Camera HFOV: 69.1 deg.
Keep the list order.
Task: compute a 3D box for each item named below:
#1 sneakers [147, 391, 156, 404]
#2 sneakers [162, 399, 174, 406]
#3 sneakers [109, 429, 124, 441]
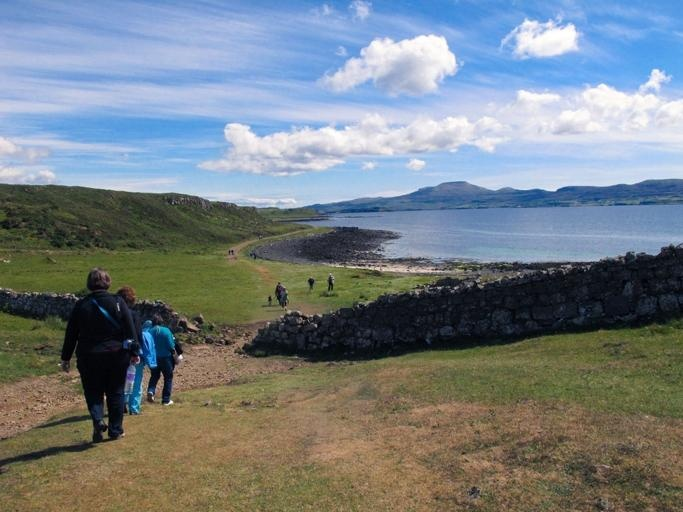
[{"bbox_3d":[-5.634,4.210,14.689,0.174,0.357,0.162,-5,25,-11],"label":"sneakers"},{"bbox_3d":[-5.098,4.339,14.556,0.369,0.126,0.121,2,0,-19],"label":"sneakers"},{"bbox_3d":[-5.323,4.240,11.697,0.324,0.264,0.178,0,5,-34],"label":"sneakers"}]
